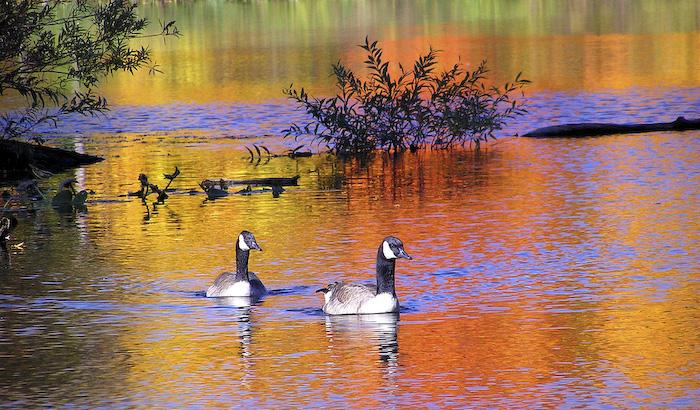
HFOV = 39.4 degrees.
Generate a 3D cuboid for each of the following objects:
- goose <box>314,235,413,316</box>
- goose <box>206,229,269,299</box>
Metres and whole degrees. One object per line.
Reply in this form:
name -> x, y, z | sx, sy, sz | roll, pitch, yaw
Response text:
goose -> 0.397, 1.432, 18.856 | 1.523, 1.650, 3.078 | -8, 5, -28
goose -> -2.210, 1.383, 20.118 | 1.521, 1.473, 2.955 | 2, -2, -13
